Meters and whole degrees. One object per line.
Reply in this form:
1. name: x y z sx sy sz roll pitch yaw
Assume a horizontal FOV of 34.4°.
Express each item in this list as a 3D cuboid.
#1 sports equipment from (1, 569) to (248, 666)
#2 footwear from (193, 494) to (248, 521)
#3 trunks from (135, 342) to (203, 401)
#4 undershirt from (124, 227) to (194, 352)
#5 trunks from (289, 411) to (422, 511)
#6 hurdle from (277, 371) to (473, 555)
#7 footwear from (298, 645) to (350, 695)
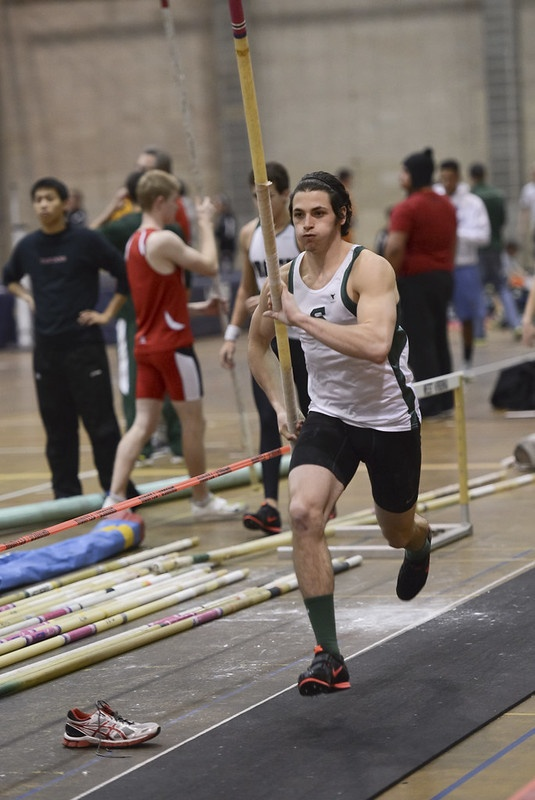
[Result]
1. sports equipment: -0.542 0.864 3.389 0.046 0.041 1.047 -16 -4 40
2. footwear: -0.308 0.662 5.267 0.399 0.165 0.123 -1 1 -9
3. trunks: -0.591 -0.171 4.984 0.432 0.356 0.249 1 7 39
4. undershirt: -0.614 -0.615 4.842 0.325 0.487 0.359 -4 2 -7
5. trunks: 0.291 0.189 2.686 0.414 0.282 0.207 4 10 1
6. hurdle: 0.528 0.298 4.714 1.003 0.796 0.760 1 -3 -9
7. footwear: 0.137 0.679 2.166 0.075 0.090 0.169 -16 -21 20
